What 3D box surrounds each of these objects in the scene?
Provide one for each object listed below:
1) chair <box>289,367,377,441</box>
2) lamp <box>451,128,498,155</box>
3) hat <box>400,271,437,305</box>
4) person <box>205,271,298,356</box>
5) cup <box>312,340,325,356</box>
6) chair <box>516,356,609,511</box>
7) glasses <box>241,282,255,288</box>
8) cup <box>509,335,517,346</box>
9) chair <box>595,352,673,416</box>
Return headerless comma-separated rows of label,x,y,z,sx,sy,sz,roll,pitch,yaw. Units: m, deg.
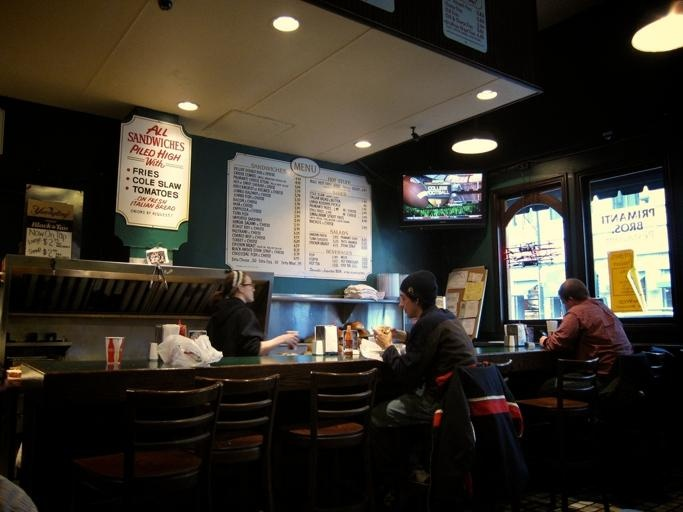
chair,-0.032,1.017,3.804,0.575,0.492,0.783,-2,-6,8
lamp,1.520,-1.207,5.969,0.476,0.184,0.471,0,-3,-30
hat,0.592,0.227,4.242,0.307,0.269,0.230,-5,5,-30
person,-0.764,0.456,4.492,0.568,0.703,0.520,-7,-9,43
cup,-0.184,0.727,4.337,0.099,0.131,0.099,1,4,0
chair,1.843,1.456,4.534,0.603,1.246,0.902,-4,-7,25
glasses,-0.820,0.252,4.780,0.104,0.028,0.101,-8,-7,27
cup,1.730,0.850,5.528,0.107,0.104,0.091,3,-1,-37
chair,2.374,1.001,4.507,0.571,0.626,0.459,-2,-7,28
